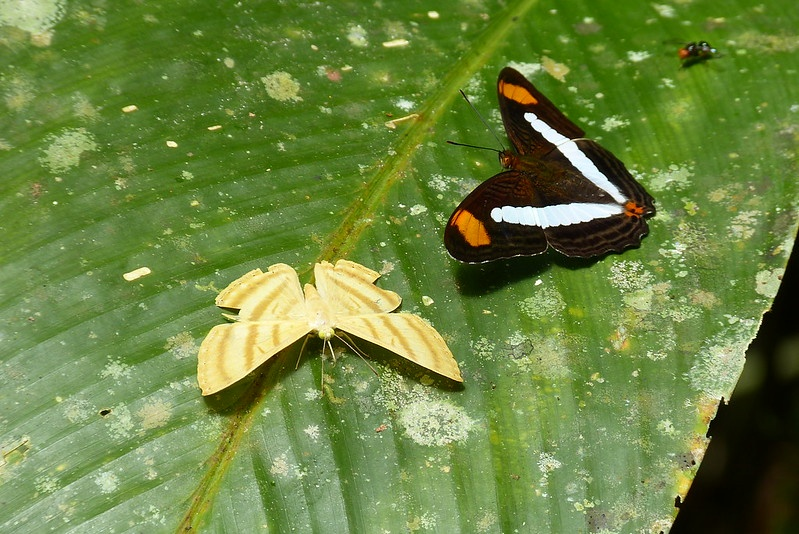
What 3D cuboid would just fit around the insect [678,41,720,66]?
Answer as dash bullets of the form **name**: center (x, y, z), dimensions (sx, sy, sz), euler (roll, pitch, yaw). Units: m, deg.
- **insect**: center (1.134, -0.826, 3.089), dimensions (0.113, 0.034, 0.111), euler (-2, 56, 18)
